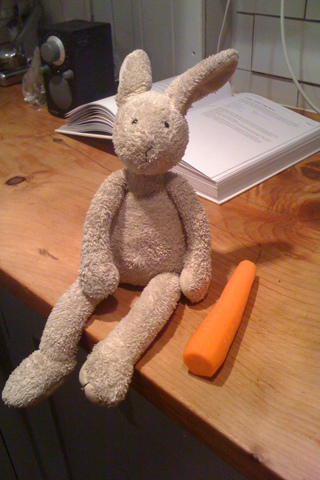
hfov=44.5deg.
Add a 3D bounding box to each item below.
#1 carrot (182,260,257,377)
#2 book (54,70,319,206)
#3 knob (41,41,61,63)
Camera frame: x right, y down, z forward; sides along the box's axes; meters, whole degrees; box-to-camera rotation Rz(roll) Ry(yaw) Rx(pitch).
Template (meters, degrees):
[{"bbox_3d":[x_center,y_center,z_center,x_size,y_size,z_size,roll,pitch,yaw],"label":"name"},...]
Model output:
[{"bbox_3d":[0.057,0.070,0.352,0.034,0.027,0.143,3,39,36],"label":"carrot"},{"bbox_3d":[0.038,-0.146,0.582,0.219,0.069,0.304,-25,43,-36],"label":"book"},{"bbox_3d":[-0.227,-0.392,0.816,0.040,0.044,0.023,26,23,39],"label":"knob"}]
